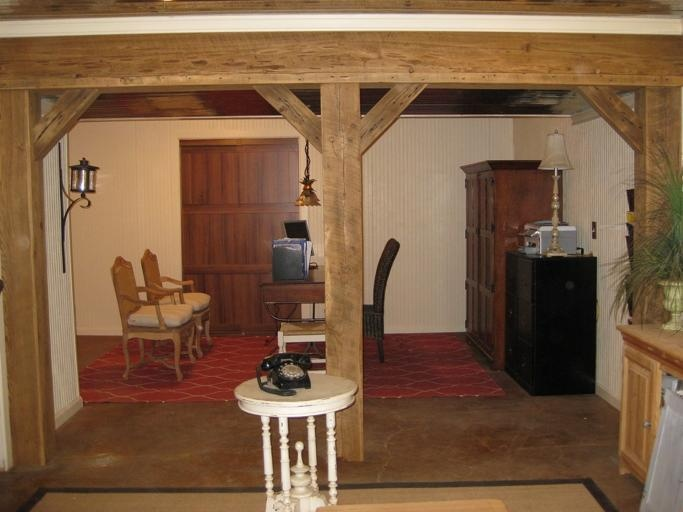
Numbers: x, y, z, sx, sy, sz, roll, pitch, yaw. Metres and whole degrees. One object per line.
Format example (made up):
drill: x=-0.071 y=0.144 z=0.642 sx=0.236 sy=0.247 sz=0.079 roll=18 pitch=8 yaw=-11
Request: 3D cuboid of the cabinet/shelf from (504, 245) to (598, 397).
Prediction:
cabinet/shelf: x=2.061 y=0.635 z=6.355 sx=0.872 sy=1.622 sz=1.446 roll=0 pitch=3 yaw=3

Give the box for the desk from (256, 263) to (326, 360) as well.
desk: x=-0.373 y=0.720 z=6.914 sx=0.935 sy=0.854 sz=0.621 roll=-1 pitch=-2 yaw=-3

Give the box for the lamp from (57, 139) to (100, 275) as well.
lamp: x=-2.295 y=-0.453 z=5.816 sx=0.361 sy=1.175 sz=0.230 roll=-2 pitch=0 yaw=-7

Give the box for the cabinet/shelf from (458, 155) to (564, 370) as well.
cabinet/shelf: x=1.812 y=0.087 z=6.907 sx=0.808 sy=2.266 sz=2.416 roll=0 pitch=4 yaw=2

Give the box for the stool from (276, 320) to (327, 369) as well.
stool: x=-0.407 y=0.893 z=6.876 sx=0.580 sy=0.403 sz=0.848 roll=1 pitch=3 yaw=7

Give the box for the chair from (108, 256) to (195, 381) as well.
chair: x=-2.081 y=0.622 z=7.425 sx=0.802 sy=1.280 sz=1.336 roll=-5 pitch=8 yaw=-13

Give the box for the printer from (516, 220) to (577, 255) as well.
printer: x=2.073 y=-0.250 z=6.537 sx=0.348 sy=0.289 sz=0.478 roll=0 pitch=5 yaw=3
